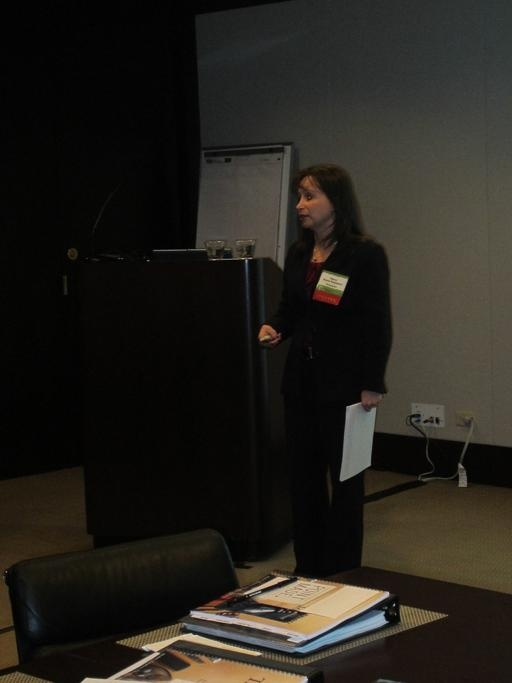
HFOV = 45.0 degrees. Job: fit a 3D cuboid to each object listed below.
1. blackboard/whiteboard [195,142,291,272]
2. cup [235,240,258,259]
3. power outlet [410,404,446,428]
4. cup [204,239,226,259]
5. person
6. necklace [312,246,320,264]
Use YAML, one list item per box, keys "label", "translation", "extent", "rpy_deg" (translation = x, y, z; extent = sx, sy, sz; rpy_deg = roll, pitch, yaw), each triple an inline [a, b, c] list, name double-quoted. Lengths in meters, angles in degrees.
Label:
- label: "blackboard/whiteboard"
  translation: [-0.107, -0.985, 4.793]
  extent: [0.682, 0.972, 0.071]
  rpy_deg: [6, 9, 17]
- label: "cup"
  translation: [-0.046, -0.413, 2.789]
  extent: [0.091, 0.071, 0.090]
  rpy_deg: [1, 5, 0]
- label: "power outlet"
  translation: [1.189, 0.523, 4.285]
  extent: [0.252, 0.168, 0.020]
  rpy_deg: [-8, -12, 37]
- label: "cup"
  translation: [-0.183, -0.402, 2.784]
  extent: [0.098, 0.081, 0.082]
  rpy_deg: [-1, -2, -27]
- label: "person"
  translation: [0.281, 0.133, 2.229]
  extent: [0.367, 1.444, 0.486]
  rpy_deg: [0, -10, 0]
- label: "necklace"
  translation: [0.214, -0.305, 2.195]
  extent: [0.012, 0.051, 0.038]
  rpy_deg: [6, -8, -29]
